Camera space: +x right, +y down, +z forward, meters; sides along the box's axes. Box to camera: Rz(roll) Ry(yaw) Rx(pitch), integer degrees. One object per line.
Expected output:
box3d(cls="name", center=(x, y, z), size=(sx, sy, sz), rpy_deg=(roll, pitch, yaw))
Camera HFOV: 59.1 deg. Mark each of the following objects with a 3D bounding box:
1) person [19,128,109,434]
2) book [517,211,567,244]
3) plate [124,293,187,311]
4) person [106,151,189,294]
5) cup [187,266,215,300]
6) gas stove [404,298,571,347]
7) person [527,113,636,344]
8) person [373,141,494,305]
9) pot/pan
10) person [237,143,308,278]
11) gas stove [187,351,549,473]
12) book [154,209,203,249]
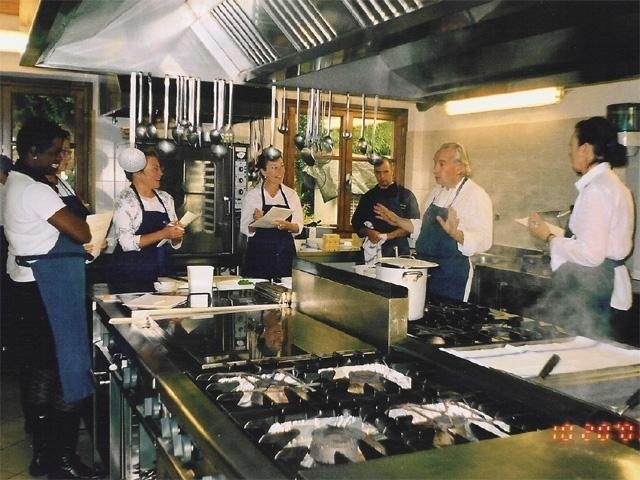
box3d(cls="person", center=(-1.399, 0.231, 2.955), size=(0.414, 1.690, 0.302), rpy_deg=(-5, 12, -20))
box3d(cls="book", center=(0.949, -0.058, 2.410), size=(0.177, 0.098, 0.057), rpy_deg=(18, 20, 17))
box3d(cls="plate", center=(-0.767, 0.280, 2.593), size=(0.297, 0.028, 0.278), rpy_deg=(1, 11, 7))
box3d(cls="person", center=(-1.075, -0.106, 3.514), size=(0.480, 0.940, 1.391), rpy_deg=(-4, 12, -18))
box3d(cls="cup", center=(-0.541, 0.195, 2.670), size=(0.152, 0.165, 0.128), rpy_deg=(0, -9, -9))
box3d(cls="gas stove", center=(0.545, 0.308, 2.199), size=(0.532, 0.025, 0.578), rpy_deg=(-4, 11, -16))
box3d(cls="person", center=(1.059, -0.053, 2.292), size=(0.413, 0.876, 0.226), rpy_deg=(3, 12, 18))
box3d(cls="person", center=(0.673, -0.098, 2.842), size=(0.198, 0.777, 0.517), rpy_deg=(-6, 12, -25))
box3d(cls="pot/pan", center=(0.342, 0.172, 2.228), size=(0.249, 0.238, 0.271), rpy_deg=(-4, 16, 7))
box3d(cls="person", center=(-0.368, -0.174, 4.059), size=(0.464, 0.883, 1.218), rpy_deg=(-1, 11, 0))
box3d(cls="gas stove", center=(0.082, 0.446, 1.667), size=(0.786, 0.070, 0.740), rpy_deg=(-6, 12, -26))
box3d(cls="book", center=(-0.876, -0.056, 3.564), size=(0.198, 0.322, 0.249), rpy_deg=(32, 23, 33))
